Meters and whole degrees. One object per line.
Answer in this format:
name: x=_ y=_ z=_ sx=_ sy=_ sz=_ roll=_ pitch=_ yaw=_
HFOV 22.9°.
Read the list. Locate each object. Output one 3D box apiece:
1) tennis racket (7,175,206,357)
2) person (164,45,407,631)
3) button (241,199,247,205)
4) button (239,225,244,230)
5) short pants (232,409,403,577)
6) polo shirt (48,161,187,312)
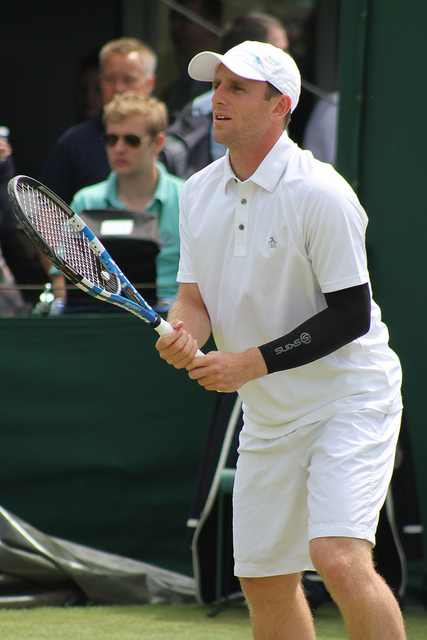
tennis racket: x=-0.385 y=-0.188 z=3.996 sx=0.892 sy=0.048 sz=0.247 roll=45 pitch=31 yaw=2
person: x=0.217 y=0.343 z=3.214 sx=0.698 sy=2.162 sz=1.176 roll=-3 pitch=27 yaw=-2
button: x=0.088 y=-0.356 z=3.136 sx=0.014 sy=0.015 sz=0.004 roll=-3 pitch=-5 yaw=13
button: x=0.082 y=-0.280 z=3.130 sx=0.015 sy=0.015 sz=0.004 roll=-3 pitch=-1 yaw=13
short pants: x=0.327 y=0.521 z=3.250 sx=0.340 sy=0.552 sz=0.595 roll=23 pitch=-31 yaw=-31
polo shirt: x=-0.359 y=-0.316 z=4.138 sx=0.586 sy=0.703 sz=0.376 roll=3 pitch=-11 yaw=5
